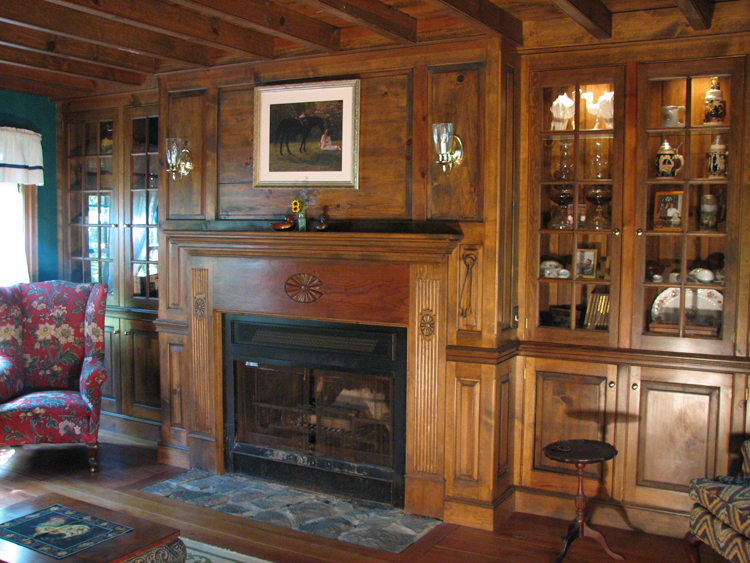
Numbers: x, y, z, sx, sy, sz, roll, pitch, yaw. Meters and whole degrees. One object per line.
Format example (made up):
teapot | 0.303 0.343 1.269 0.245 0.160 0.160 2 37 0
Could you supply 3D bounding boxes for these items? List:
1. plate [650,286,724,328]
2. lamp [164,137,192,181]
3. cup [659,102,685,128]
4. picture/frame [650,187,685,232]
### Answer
plate | 2.006 0.169 4.089 0.291 0.261 0.059 8 14 22
lamp | -1.522 -0.937 4.902 0.226 0.309 0.196 -3 5 -30
cup | 1.900 -1.049 4.065 0.158 0.151 0.100 2 5 36
picture/frame | 1.894 -0.446 4.104 0.188 0.251 0.020 4 8 42
